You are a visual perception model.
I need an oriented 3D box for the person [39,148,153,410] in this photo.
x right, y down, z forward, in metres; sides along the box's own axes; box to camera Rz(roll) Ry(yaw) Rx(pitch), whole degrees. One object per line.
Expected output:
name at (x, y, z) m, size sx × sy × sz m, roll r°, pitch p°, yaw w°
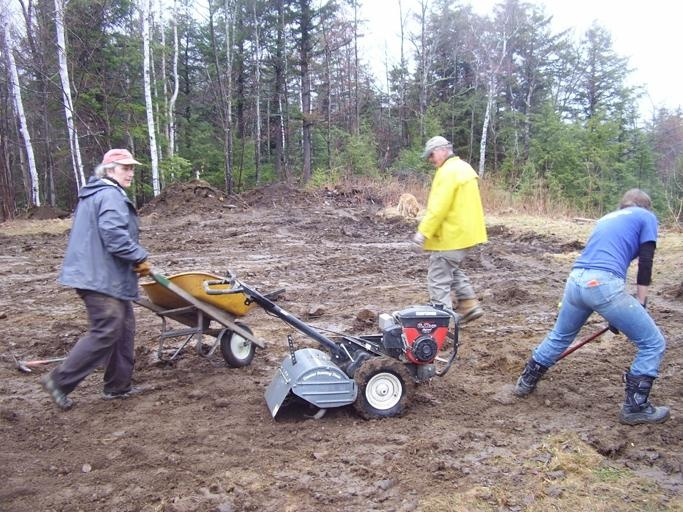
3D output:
person at (-2.551, 0.244, 6.260) m, size 0.914 × 2.806 × 1.132 m, roll 3°, pitch 12°, yaw 7°

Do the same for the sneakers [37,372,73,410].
sneakers at (-2.933, 1.430, 6.099) m, size 0.215 × 0.438 × 0.170 m, roll -31°, pitch 15°, yaw 4°

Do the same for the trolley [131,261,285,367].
trolley at (-1.738, 0.707, 6.930) m, size 2.153 × 0.818 × 1.018 m, roll 4°, pitch -1°, yaw -30°

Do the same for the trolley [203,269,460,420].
trolley at (-0.061, 1.029, 6.639) m, size 2.814 × 1.224 × 1.343 m, roll -3°, pitch 5°, yaw -6°

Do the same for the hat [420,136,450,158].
hat at (1.264, -1.454, 7.629) m, size 0.340 × 0.282 × 0.599 m, roll 3°, pitch 9°, yaw 9°

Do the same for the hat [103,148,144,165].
hat at (-2.452, -1.111, 6.464) m, size 0.374 × 0.112 × 0.220 m, roll -2°, pitch 7°, yaw -15°

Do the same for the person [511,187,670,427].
person at (2.785, 0.489, 6.004) m, size 1.400 × 2.327 × 0.677 m, roll 7°, pitch 13°, yaw 24°

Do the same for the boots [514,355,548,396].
boots at (2.101, 1.380, 6.465) m, size 0.224 × 0.412 × 0.668 m, roll 30°, pitch 15°, yaw 22°
